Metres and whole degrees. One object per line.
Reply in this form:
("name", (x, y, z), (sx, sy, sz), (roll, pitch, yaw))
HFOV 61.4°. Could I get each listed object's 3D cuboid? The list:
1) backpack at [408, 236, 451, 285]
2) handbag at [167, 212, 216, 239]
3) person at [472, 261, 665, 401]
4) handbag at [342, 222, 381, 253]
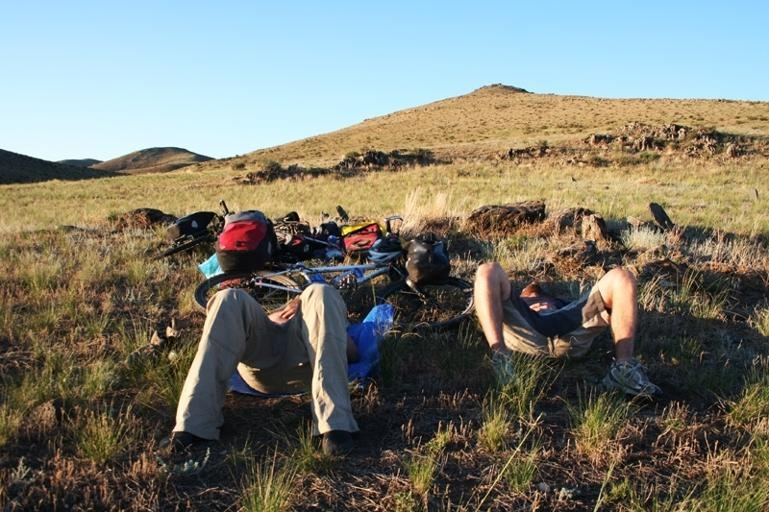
("backpack", (0.577, 0.112, 8.170), (0.409, 0.572, 0.599), (-2, -32, 6))
("handbag", (-3.102, -0.502, 10.363), (0.390, 0.254, 0.689), (-4, 19, 30))
("person", (1.947, 0.744, 7.051), (1.376, 1.095, 1.588), (7, -17, 5))
("handbag", (-0.376, -0.287, 9.970), (0.484, 0.520, 0.200), (5, -1, -2))
